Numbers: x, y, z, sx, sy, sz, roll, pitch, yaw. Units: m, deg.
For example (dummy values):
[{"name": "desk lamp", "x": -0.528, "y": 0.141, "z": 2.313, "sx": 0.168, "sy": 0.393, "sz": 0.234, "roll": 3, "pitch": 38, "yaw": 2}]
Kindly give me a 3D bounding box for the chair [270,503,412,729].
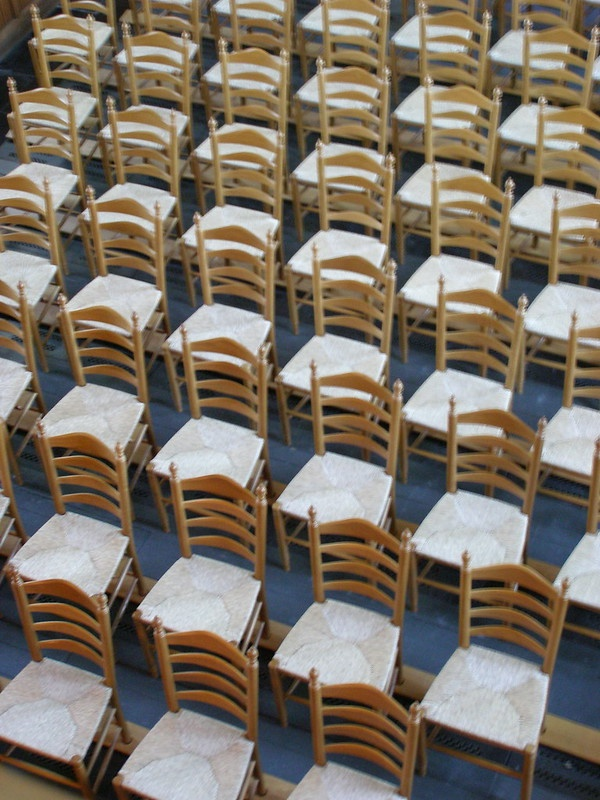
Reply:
[{"name": "chair", "x": 0.163, "y": 0.879, "z": 3.189, "sx": 0.494, "sy": 0.788, "sz": 0.474, "roll": 13, "pitch": 33, "yaw": 31}]
